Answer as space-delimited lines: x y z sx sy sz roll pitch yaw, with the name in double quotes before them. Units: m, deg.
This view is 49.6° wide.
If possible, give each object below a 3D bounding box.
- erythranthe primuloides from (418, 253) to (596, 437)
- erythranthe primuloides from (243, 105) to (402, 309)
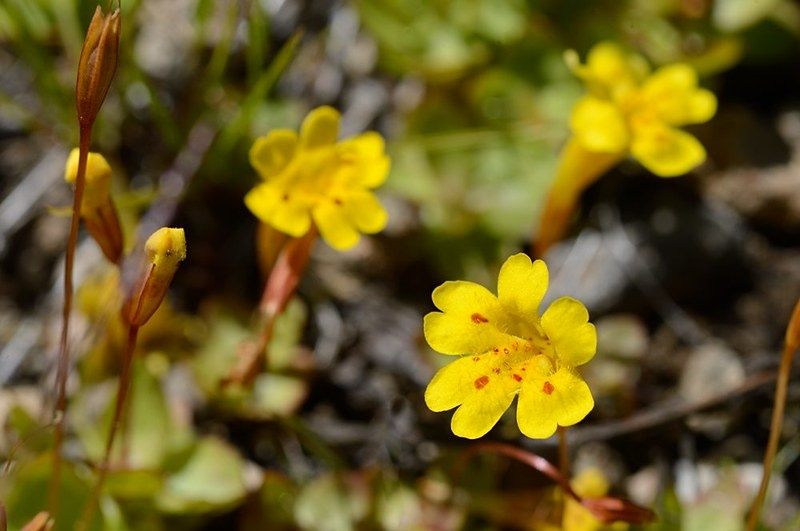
"erythranthe primuloides" 0.259 0.199 2.008 0.393 0.179 0.434 -10 89 29
"erythranthe primuloides" -0.202 -0.135 2.143 0.329 0.160 0.515 1 75 5
